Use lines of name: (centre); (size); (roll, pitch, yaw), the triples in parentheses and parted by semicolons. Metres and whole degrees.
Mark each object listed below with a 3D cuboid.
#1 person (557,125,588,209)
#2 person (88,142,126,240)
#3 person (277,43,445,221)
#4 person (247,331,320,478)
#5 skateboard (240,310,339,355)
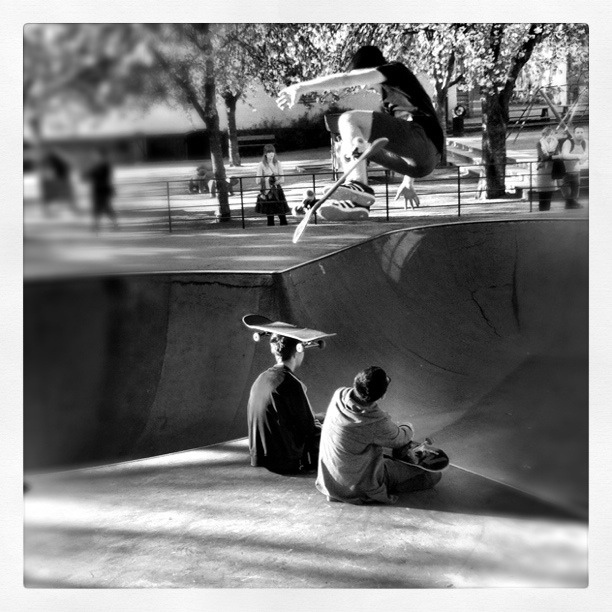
person: (2.795, -1.454, 8.218); (0.286, 0.858, 0.193); (3, 9, 19)
person: (-2.115, -1.191, 8.169); (0.287, 0.941, 0.161); (0, 8, -12)
person: (0.473, -1.720, 7.439); (1.120, 1.063, 1.611); (-6, 30, 17)
person: (-0.184, 0.901, 6.864); (0.624, 1.272, 0.419); (0, 9, 0)
skateboard: (-0.267, 0.313, 7.529); (0.400, 0.242, 1.319); (-14, 17, -29)
